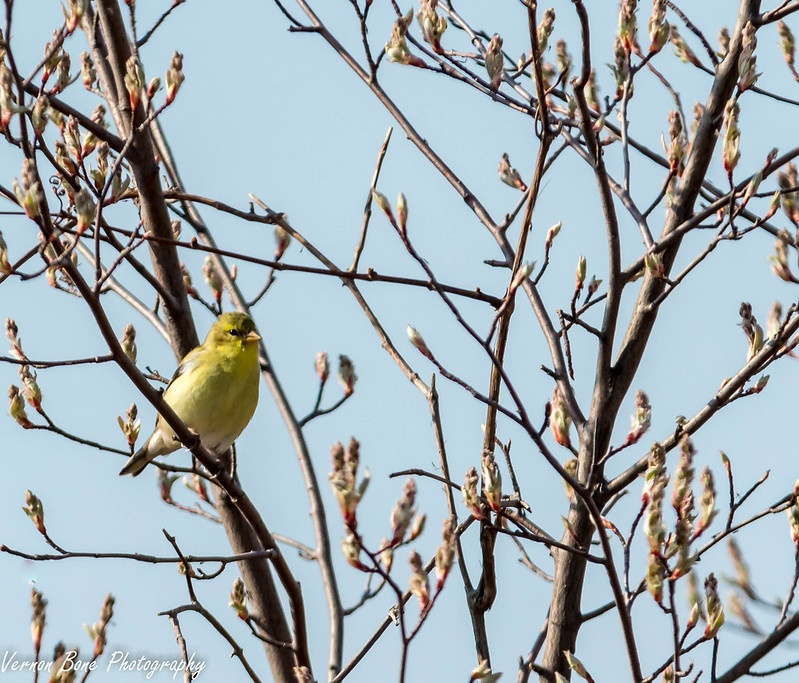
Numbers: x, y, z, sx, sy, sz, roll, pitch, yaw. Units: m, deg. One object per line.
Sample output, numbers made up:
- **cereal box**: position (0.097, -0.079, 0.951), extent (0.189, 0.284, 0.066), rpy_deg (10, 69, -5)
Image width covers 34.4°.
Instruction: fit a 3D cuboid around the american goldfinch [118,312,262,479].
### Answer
- **american goldfinch**: position (-1.214, 0.290, 7.607), extent (0.716, 0.947, 0.469), rpy_deg (-6, -23, 29)
